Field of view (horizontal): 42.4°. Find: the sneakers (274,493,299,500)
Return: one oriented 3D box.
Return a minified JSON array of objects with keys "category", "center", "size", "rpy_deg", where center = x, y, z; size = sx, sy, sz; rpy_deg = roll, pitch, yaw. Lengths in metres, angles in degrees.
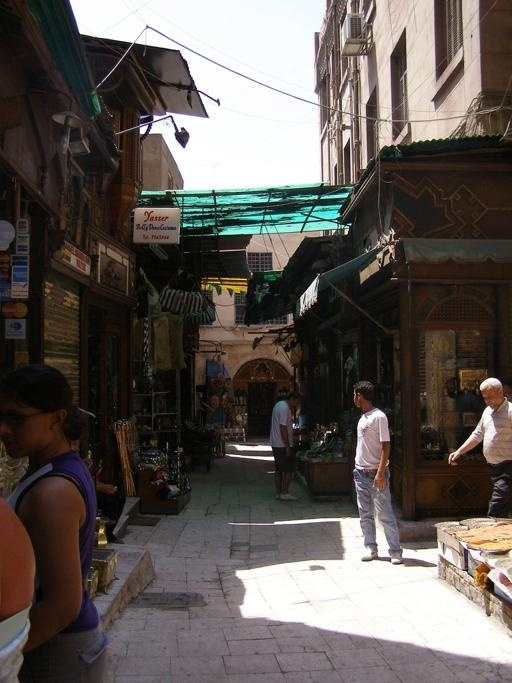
[{"category":"sneakers","center":[0.457,2.345,9.983],"size":[0.298,0.125,0.114],"rpy_deg":[1,-5,2]}]

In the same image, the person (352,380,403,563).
[{"category":"person","center":[1.187,1.244,6.504],"size":[0.432,1.705,0.815],"rpy_deg":[-2,-5,8]}]

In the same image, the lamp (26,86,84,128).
[{"category":"lamp","center":[-1.818,-2.098,5.979],"size":[0.365,0.257,0.525],"rpy_deg":[-1,-5,0]}]

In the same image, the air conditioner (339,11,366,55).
[{"category":"air conditioner","center":[2.050,-6.497,13.945],"size":[0.340,0.626,0.648],"rpy_deg":[0,4,-1]}]

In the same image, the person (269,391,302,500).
[{"category":"person","center":[0.447,1.606,10.237],"size":[0.410,1.602,0.850],"rpy_deg":[-1,-5,4]}]

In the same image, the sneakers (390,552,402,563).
[{"category":"sneakers","center":[1.292,2.004,6.093],"size":[0.109,0.087,0.147],"rpy_deg":[-2,-5,13]}]

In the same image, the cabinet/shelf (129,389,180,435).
[{"category":"cabinet/shelf","center":[-1.950,1.354,12.513],"size":[0.386,1.175,1.246],"rpy_deg":[-5,-4,27]}]
